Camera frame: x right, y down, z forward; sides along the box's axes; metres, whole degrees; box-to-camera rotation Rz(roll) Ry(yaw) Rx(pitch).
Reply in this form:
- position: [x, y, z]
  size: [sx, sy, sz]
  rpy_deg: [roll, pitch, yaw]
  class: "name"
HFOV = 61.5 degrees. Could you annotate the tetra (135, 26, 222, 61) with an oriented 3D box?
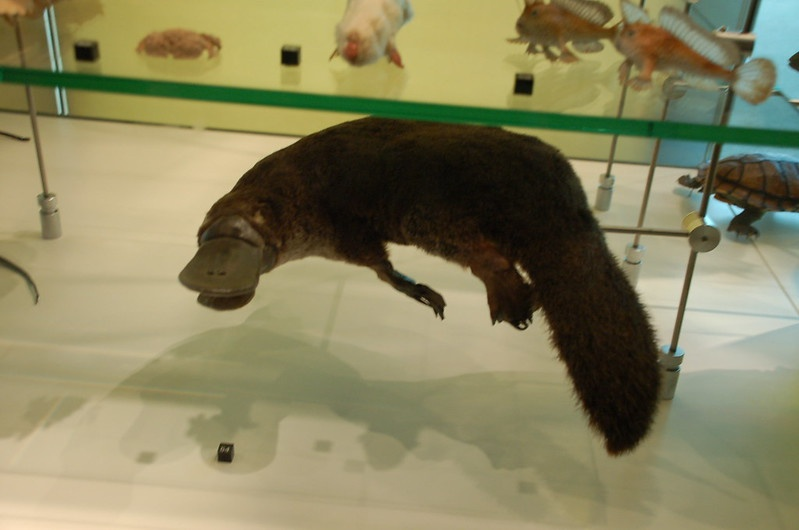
- position: [-0.324, -0.326, 0.988]
  size: [0.119, 0.032, 0.086]
  rpy_deg: [-1, 26, -14]
  class: "tetra"
